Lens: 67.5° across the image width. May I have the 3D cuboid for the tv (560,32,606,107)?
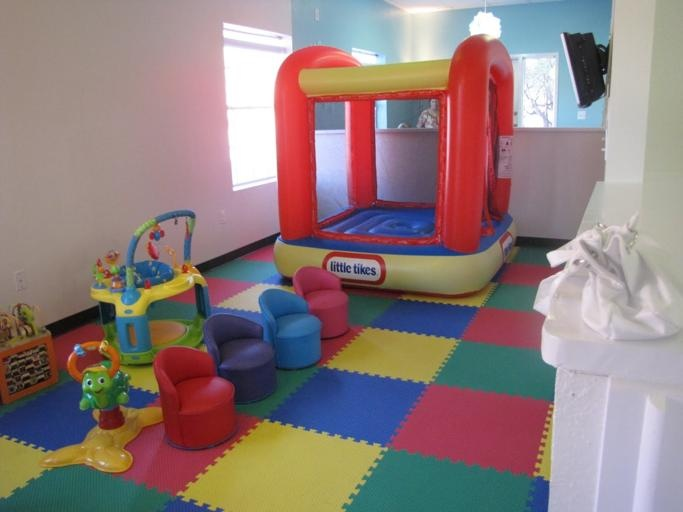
[{"bbox_3d":[2.232,-1.715,4.704,0.370,0.669,0.501,4,17,26],"label":"tv"}]

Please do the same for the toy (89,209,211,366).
[{"bbox_3d":[-1.379,0.138,3.672,0.729,1.050,0.712,14,21,33],"label":"toy"}]

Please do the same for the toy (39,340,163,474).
[{"bbox_3d":[-1.235,0.796,2.713,0.565,0.537,0.546,-14,21,-43],"label":"toy"}]
